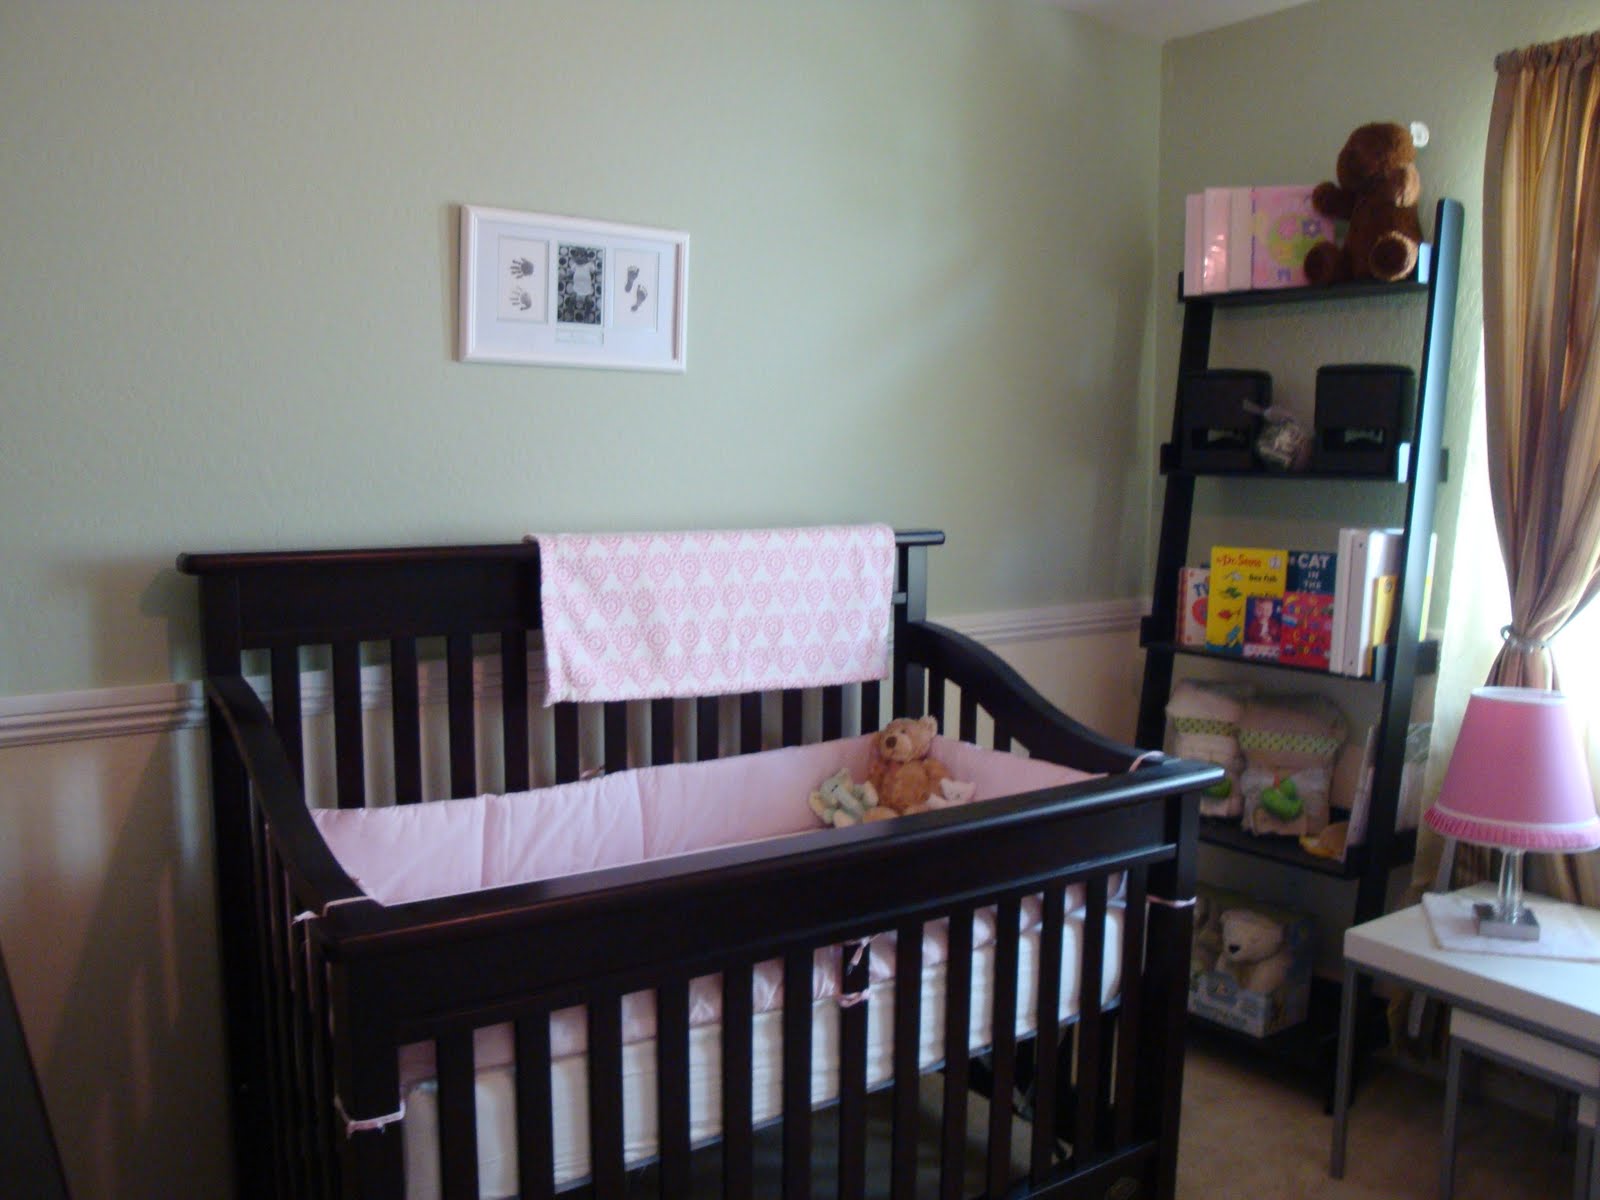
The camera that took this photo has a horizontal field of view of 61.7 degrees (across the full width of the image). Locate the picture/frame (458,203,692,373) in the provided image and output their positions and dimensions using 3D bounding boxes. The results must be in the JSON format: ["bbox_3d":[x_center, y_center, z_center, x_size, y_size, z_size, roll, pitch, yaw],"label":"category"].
[{"bbox_3d":[-0.445,-0.612,2.659,0.484,0.317,0.028,-7,13,-28],"label":"picture/frame"}]

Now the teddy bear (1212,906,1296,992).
[{"bbox_3d":[1.041,0.812,3.099,0.134,0.197,0.179,-22,25,-31],"label":"teddy bear"}]

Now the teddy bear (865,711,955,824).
[{"bbox_3d":[0.216,0.354,2.743,0.164,0.243,0.127,-5,-22,15],"label":"teddy bear"}]

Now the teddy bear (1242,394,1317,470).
[{"bbox_3d":[1.125,-0.385,3.129,0.156,0.161,0.087,5,13,26],"label":"teddy bear"}]

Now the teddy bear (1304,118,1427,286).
[{"bbox_3d":[1.245,-0.874,2.934,0.239,0.356,0.247,4,12,22],"label":"teddy bear"}]

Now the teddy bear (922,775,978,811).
[{"bbox_3d":[0.293,0.395,2.666,0.071,0.046,0.103,12,26,42],"label":"teddy bear"}]

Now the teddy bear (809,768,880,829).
[{"bbox_3d":[0.087,0.407,2.724,0.109,0.040,0.109,-30,46,-29],"label":"teddy bear"}]
